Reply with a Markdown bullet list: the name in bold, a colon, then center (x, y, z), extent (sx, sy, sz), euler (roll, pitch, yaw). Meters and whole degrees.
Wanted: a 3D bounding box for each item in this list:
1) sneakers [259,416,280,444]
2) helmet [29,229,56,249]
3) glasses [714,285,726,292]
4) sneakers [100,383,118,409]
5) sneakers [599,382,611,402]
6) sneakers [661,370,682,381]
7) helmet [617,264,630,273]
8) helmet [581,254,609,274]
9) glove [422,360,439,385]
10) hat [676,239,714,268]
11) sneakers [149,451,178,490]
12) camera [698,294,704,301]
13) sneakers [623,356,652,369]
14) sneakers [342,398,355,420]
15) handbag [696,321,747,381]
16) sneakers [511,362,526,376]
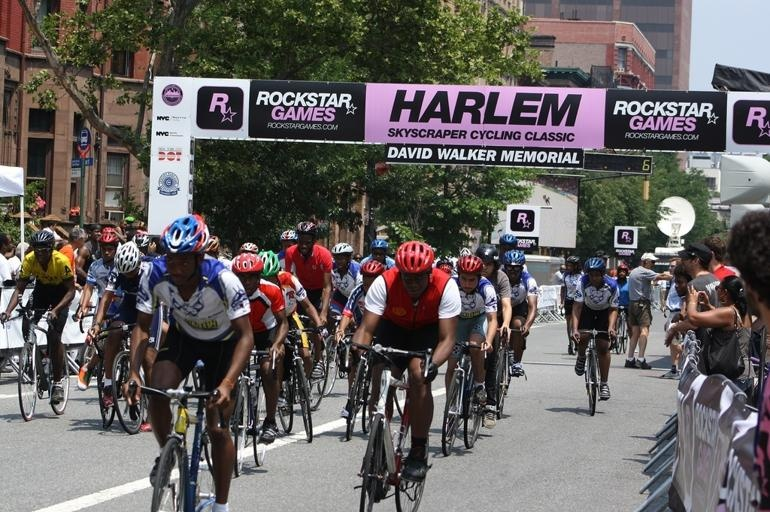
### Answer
- **sneakers**: center (-1.491, 2.248, 13.084), extent (0.188, 0.274, 0.307), euler (1, 0, -2)
- **helmet**: center (-5.051, -0.247, 15.269), extent (0.249, 0.235, 0.351), euler (1, 11, -3)
- **glasses**: center (4.348, 0.431, 13.435), extent (0.137, 0.046, 0.145), euler (3, 5, 25)
- **sneakers**: center (-3.871, 1.988, 14.479), extent (0.163, 0.220, 0.501), euler (2, -5, -7)
- **sneakers**: center (3.636, 2.262, 16.988), extent (0.136, 0.181, 0.420), euler (-1, -10, 7)
- **sneakers**: center (6.075, 2.582, 21.998), extent (0.482, 0.226, 0.178), euler (1, -3, 7)
- **helmet**: center (6.494, 0.361, 28.070), extent (0.275, 0.302, 0.363), euler (9, 38, 11)
- **helmet**: center (3.540, 0.142, 17.178), extent (0.351, 0.232, 0.610), euler (0, -2, 25)
- **glove**: center (0.470, 1.270, 10.864), extent (0.109, 0.314, 0.111), euler (5, 18, 6)
- **hat**: center (4.381, -0.008, 14.515), extent (0.386, 0.203, 0.286), euler (28, 16, 19)
- **sneakers**: center (-2.053, 1.934, 9.372), extent (0.139, 0.159, 0.517), euler (13, 35, 4)
- **camera**: center (4.031, 0.533, 13.126), extent (0.070, 0.061, 0.091), euler (2, -39, 15)
- **sneakers**: center (5.893, 2.504, 23.983), extent (0.585, 0.256, 0.267), euler (2, 1, -15)
- **sneakers**: center (-0.515, 2.131, 14.316), extent (0.137, 0.290, 0.411), euler (7, -2, -1)
- **handbag**: center (4.119, 1.176, 12.574), extent (0.597, 0.865, 0.469), euler (5, -10, 14)
- **sneakers**: center (2.288, 1.997, 17.758), extent (0.148, 0.179, 0.414), euler (-1, -13, 11)
